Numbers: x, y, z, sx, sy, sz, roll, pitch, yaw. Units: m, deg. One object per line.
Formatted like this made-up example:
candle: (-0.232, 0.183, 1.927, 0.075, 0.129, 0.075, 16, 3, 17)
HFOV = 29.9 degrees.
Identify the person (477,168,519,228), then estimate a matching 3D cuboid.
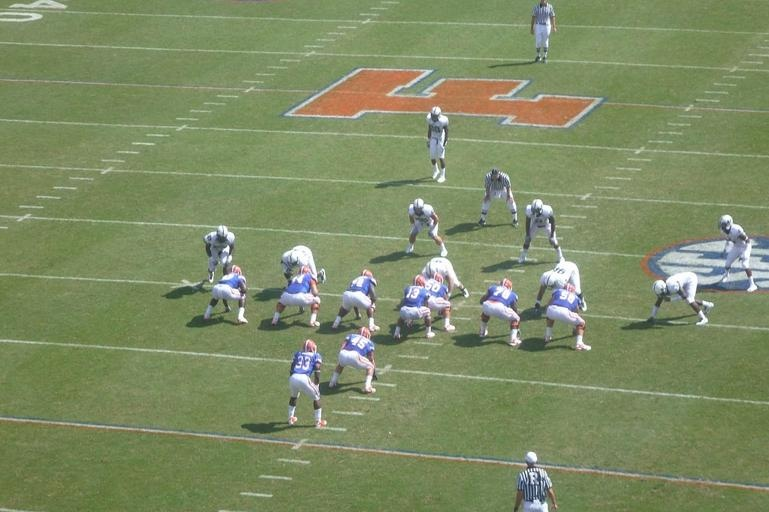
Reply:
person: (3.280, -1.703, 41.475, 1.074, 1.706, 1.139, 3, 0, 4)

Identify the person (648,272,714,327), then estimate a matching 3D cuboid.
person: (7.670, 1.001, 36.922, 2.094, 1.084, 1.068, -1, 7, -14)

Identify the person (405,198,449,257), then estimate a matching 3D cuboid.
person: (1.201, -0.747, 40.636, 1.531, 1.892, 1.036, 10, 50, 14)
